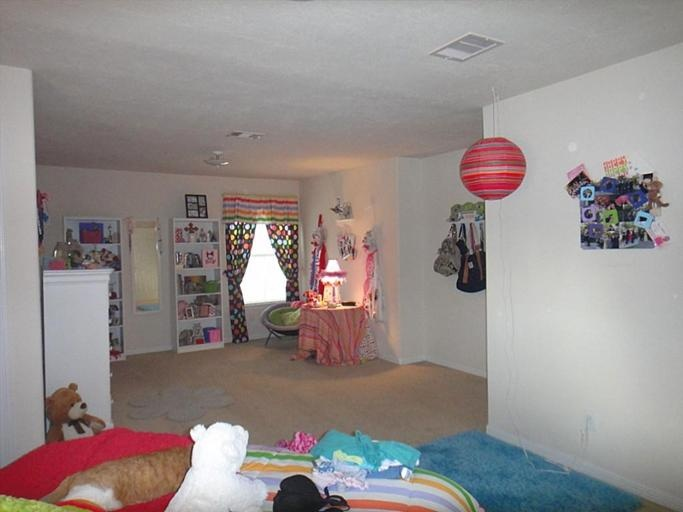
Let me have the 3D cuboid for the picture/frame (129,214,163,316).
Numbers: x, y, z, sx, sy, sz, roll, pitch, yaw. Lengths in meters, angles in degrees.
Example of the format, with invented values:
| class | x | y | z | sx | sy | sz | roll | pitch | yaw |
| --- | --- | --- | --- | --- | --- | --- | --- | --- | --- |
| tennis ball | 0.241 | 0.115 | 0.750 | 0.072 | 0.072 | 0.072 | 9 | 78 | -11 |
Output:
| class | x | y | z | sx | sy | sz | roll | pitch | yaw |
| --- | --- | --- | --- | --- | --- | --- | --- | --- | --- |
| picture/frame | -3.083 | 0.147 | 7.856 | 0.463 | 1.426 | 0.196 | -4 | 7 | -25 |

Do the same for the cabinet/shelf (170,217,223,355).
| class | x | y | z | sx | sy | sz | roll | pitch | yaw |
| --- | --- | --- | --- | --- | --- | --- | --- | --- | --- |
| cabinet/shelf | -2.329 | 0.460 | 8.075 | 0.760 | 2.101 | 0.280 | -2 | 5 | -23 |

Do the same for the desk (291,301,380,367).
| class | x | y | z | sx | sy | sz | roll | pitch | yaw |
| --- | --- | --- | --- | --- | --- | --- | --- | --- | --- |
| desk | -0.105 | 1.132 | 7.177 | 1.176 | 0.761 | 0.604 | -1 | 6 | 0 |

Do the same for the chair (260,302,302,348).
| class | x | y | z | sx | sy | sz | roll | pitch | yaw |
| --- | --- | --- | --- | --- | --- | --- | --- | --- | --- |
| chair | -0.987 | 1.054 | 8.071 | 0.644 | 0.532 | 0.657 | -3 | 6 | -2 |

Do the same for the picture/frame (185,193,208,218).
| class | x | y | z | sx | sy | sz | roll | pitch | yaw |
| --- | --- | --- | --- | --- | --- | --- | --- | --- | --- |
| picture/frame | -2.410 | -0.822 | 8.195 | 0.397 | 0.463 | 0.033 | -4 | -4 | -43 |

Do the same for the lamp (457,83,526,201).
| class | x | y | z | sx | sy | sz | roll | pitch | yaw |
| --- | --- | --- | --- | --- | --- | --- | --- | --- | --- |
| lamp | 1.267 | -1.004 | 4.216 | 0.517 | 1.100 | 0.531 | -3 | 6 | -2 |

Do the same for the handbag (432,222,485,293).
| class | x | y | z | sx | sy | sz | roll | pitch | yaw |
| --- | --- | --- | --- | --- | --- | --- | --- | --- | --- |
| handbag | 1.605 | 0.002 | 6.630 | 0.604 | 0.854 | 0.298 | 7 | 13 | 45 |

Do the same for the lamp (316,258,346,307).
| class | x | y | z | sx | sy | sz | roll | pitch | yaw |
| --- | --- | --- | --- | --- | --- | --- | --- | --- | --- |
| lamp | -0.169 | 0.384 | 7.583 | 0.377 | 0.559 | 0.394 | 3 | 10 | 4 |
